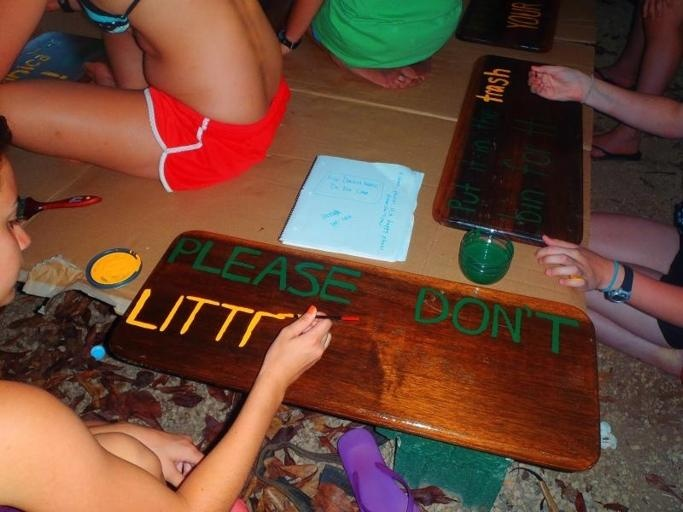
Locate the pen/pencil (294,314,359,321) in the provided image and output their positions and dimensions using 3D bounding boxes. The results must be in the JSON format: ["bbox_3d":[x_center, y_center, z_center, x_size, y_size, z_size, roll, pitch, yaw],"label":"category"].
[{"bbox_3d":[-0.040,0.180,1.523,0.165,0.018,0.019,-1,28,-2],"label":"pen/pencil"}]

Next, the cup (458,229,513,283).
[{"bbox_3d":[0.455,-0.005,1.679,0.159,0.142,0.188,17,35,23],"label":"cup"}]

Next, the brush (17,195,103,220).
[{"bbox_3d":[-1.008,-0.160,1.861,0.347,0.029,0.104,-5,55,-9],"label":"brush"}]
